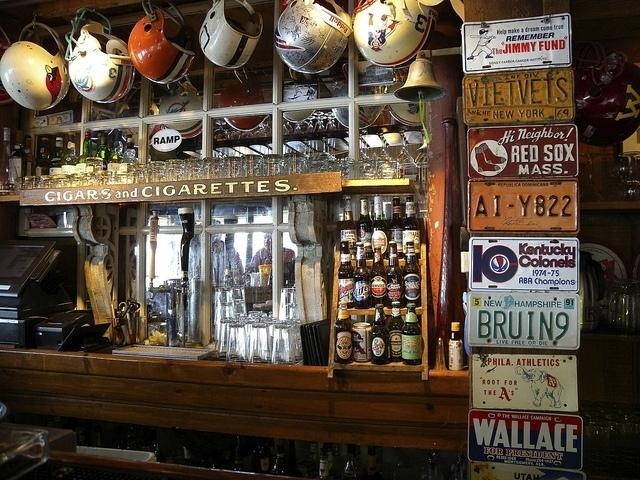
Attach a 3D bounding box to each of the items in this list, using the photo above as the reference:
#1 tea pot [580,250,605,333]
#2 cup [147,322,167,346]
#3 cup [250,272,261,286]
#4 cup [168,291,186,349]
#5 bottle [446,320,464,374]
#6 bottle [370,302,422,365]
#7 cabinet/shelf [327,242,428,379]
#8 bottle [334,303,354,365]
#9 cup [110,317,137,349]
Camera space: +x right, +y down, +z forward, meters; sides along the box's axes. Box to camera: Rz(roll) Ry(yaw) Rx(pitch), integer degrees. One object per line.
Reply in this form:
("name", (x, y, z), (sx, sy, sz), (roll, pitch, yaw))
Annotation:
("tea pot", (1.376, 0.255, 3.075), (0.172, 0.391, 0.062), (4, -7, -36))
("cup", (-1.061, 0.608, 3.965), (0.118, 0.132, 0.086), (1, -6, -6))
("cup", (-0.413, 0.250, 3.899), (0.075, 0.091, 0.076), (0, 1, 0))
("cup", (-0.916, 0.483, 3.873), (0.121, 0.358, 0.076), (0, -6, -1))
("bottle", (0.699, 0.544, 3.149), (0.084, 0.246, 0.111), (-1, -6, 13))
("bottle", (0.398, 0.490, 3.150), (0.275, 0.326, 0.098), (-1, -9, 15))
("cabinet/shelf", (0.275, 0.372, 3.224), (0.517, 0.948, 0.654), (-1, -13, 8))
("bottle", (0.127, 0.482, 3.179), (0.098, 0.311, 0.052), (0, -6, 1))
("cup", (-1.245, 0.584, 3.959), (0.199, 0.165, 0.167), (5, -7, -43))
